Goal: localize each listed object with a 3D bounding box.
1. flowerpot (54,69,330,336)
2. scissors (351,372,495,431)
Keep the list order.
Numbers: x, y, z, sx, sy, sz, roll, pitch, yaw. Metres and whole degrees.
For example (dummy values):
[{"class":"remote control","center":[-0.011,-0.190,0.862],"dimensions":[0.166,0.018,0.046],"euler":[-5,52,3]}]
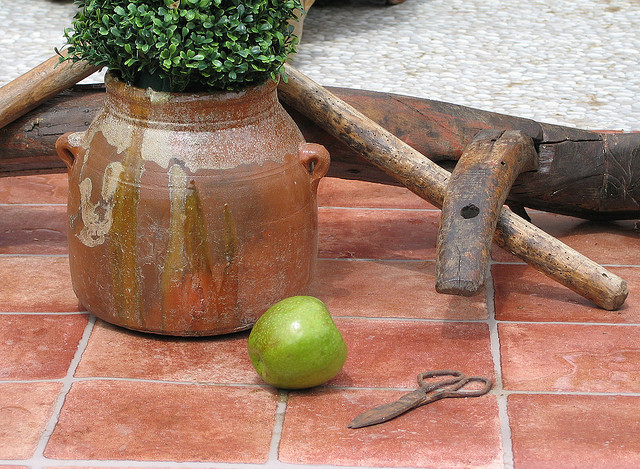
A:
[{"class":"flowerpot","center":[-0.313,-0.146,3.067],"dimensions":[1.223,0.799,0.987],"euler":[0,14,4]},{"class":"scissors","center":[0.299,0.526,2.516],"dimensions":[0.569,0.032,0.242],"euler":[-13,15,-38]}]
